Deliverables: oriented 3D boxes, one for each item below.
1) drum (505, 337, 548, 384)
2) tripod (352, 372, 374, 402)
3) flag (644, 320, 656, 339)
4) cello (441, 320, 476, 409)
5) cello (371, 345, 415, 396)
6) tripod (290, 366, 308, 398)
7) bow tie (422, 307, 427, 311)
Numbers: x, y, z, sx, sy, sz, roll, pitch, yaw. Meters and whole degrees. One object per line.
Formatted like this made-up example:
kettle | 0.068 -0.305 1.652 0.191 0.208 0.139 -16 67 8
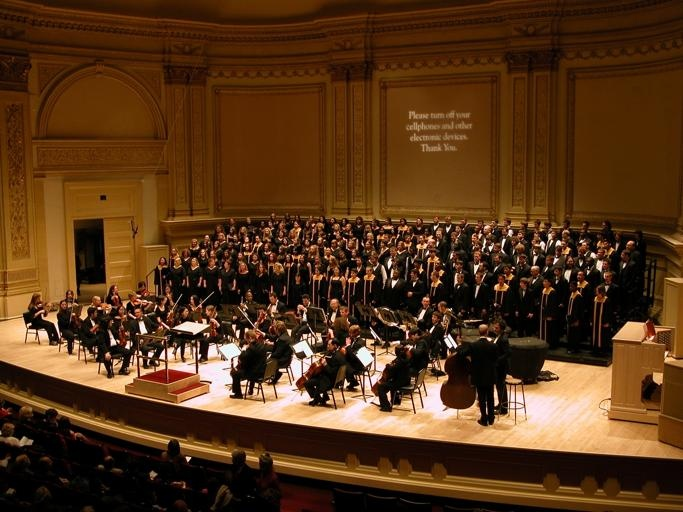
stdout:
drum | 3.555 1.902 11.741 0.827 0.839 0.899 0 2 -1
tripod | 0.463 2.569 11.692 0.408 0.619 0.405 4 6 44
flag | 5.179 1.244 10.123 0.063 0.291 0.265 -12 -8 38
cello | 1.959 2.040 10.010 0.619 1.128 0.337 -3 5 -4
cello | 0.842 2.105 10.761 0.586 1.230 0.500 8 2 1
tripod | -0.822 2.378 11.297 0.274 0.480 0.462 2 19 10
bow tie | 1.776 1.116 12.825 0.093 0.055 0.136 -2 6 -14
